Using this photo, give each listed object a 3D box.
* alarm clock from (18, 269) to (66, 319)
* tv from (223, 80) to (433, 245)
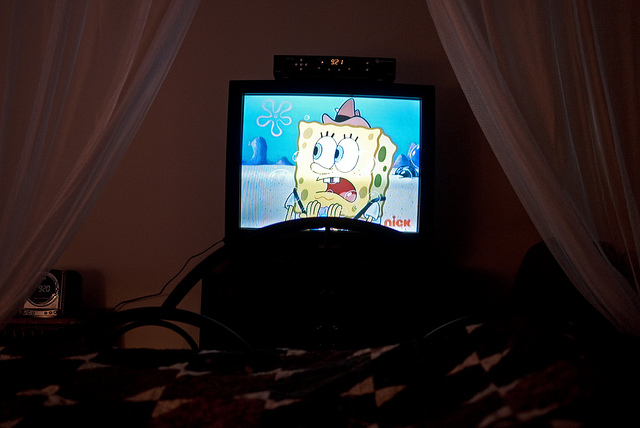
[{"bbox_3d":[-1.279,0.331,2.543,0.188,0.256,0.156,9,24,-25],"label":"alarm clock"},{"bbox_3d":[0.045,-0.137,2.673,0.936,0.865,0.525,1,-22,-2],"label":"tv"}]
